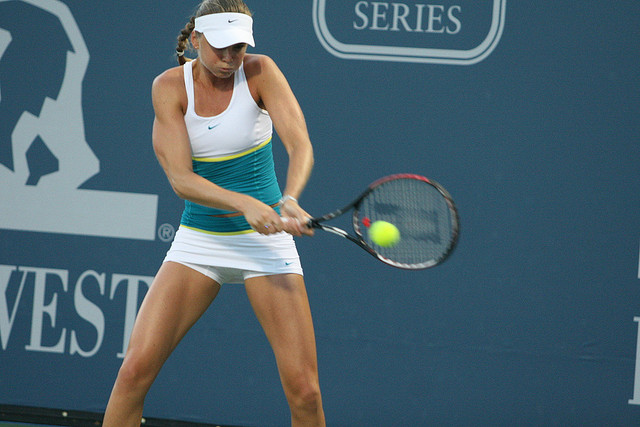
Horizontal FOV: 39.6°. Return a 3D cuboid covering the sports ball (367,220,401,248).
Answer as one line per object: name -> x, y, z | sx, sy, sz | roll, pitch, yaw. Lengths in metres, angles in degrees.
sports ball -> 0.382, 0.119, 5.145 | 0.163, 0.125, 0.130 | 12, -34, 9

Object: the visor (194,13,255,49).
visor -> -0.531, -1.040, 5.046 | 0.331, 0.173, 0.143 | 7, 2, -11

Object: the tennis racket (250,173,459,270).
tennis racket -> 0.089, 0.078, 5.078 | 1.434, 0.601, 0.067 | -3, -22, -10
